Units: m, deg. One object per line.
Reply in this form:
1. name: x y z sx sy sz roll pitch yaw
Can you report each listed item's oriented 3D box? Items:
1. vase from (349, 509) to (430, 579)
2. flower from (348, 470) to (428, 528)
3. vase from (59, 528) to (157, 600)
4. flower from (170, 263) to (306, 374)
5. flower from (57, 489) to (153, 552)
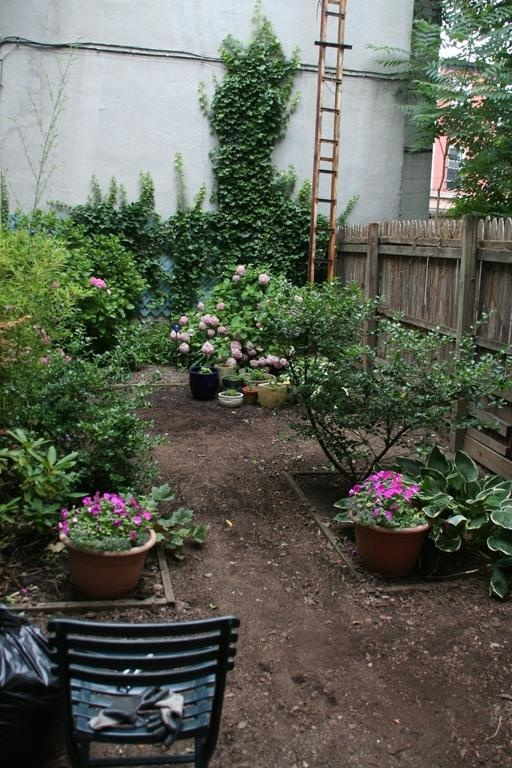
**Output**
1. vase: 0.678 0.849 3.126 0.385 0.255 0.368 5 -5 -21
2. flower: 0.656 0.581 3.010 0.316 0.199 0.287 0 2 -27
3. vase: -0.689 0.837 2.749 0.396 0.233 0.396 5 -3 26
4. flower: -0.332 -0.724 7.143 1.250 1.281 1.591 0 14 -14
5. flower: -0.635 0.598 2.715 0.240 0.131 0.210 4 18 -18
